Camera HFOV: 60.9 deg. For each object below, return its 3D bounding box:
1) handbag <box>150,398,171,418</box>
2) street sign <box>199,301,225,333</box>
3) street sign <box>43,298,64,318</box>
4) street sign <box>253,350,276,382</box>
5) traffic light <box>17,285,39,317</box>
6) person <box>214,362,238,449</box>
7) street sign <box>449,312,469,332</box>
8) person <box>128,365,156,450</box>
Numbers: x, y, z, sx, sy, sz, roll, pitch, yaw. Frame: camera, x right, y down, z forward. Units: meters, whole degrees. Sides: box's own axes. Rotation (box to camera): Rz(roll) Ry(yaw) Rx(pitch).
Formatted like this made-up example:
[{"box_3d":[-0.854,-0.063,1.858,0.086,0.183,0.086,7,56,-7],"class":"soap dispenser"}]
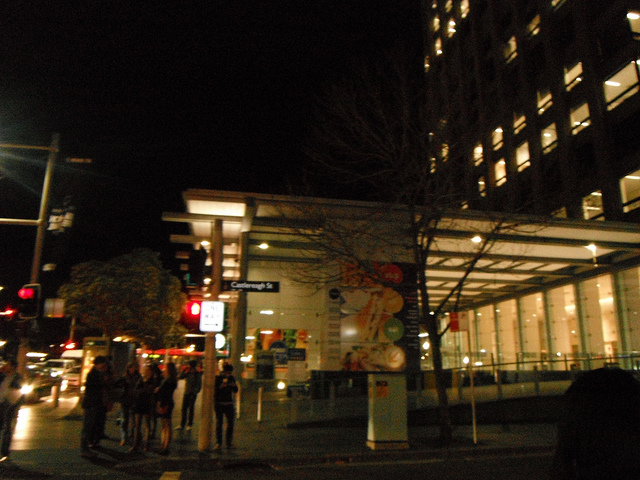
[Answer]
[{"box_3d":[-4.468,4.668,15.190,0.471,0.497,1.571,8,-19,-21],"class":"handbag"},{"box_3d":[-3.089,2.176,15.514,1.031,1.189,0.129,0,-9,-9],"class":"street sign"},{"box_3d":[-20.699,5.195,42.402,1.334,1.480,1.804,9,-20,-24],"class":"street sign"},{"box_3d":[-2.886,7.038,30.655,1.620,2.036,1.530,1,-5,-9],"class":"street sign"},{"box_3d":[-9.778,2.019,18.277,0.634,1.116,0.360,10,-21,-26],"class":"traffic light"},{"box_3d":[-2.796,4.835,16.106,0.667,2.405,1.323,4,-19,-9],"class":"person"},{"box_3d":[4.354,2.538,17.026,0.580,0.707,1.048,-4,-18,13],"class":"street sign"},{"box_3d":[-5.005,4.714,15.491,0.577,2.299,0.961,7,-19,-17],"class":"person"}]
